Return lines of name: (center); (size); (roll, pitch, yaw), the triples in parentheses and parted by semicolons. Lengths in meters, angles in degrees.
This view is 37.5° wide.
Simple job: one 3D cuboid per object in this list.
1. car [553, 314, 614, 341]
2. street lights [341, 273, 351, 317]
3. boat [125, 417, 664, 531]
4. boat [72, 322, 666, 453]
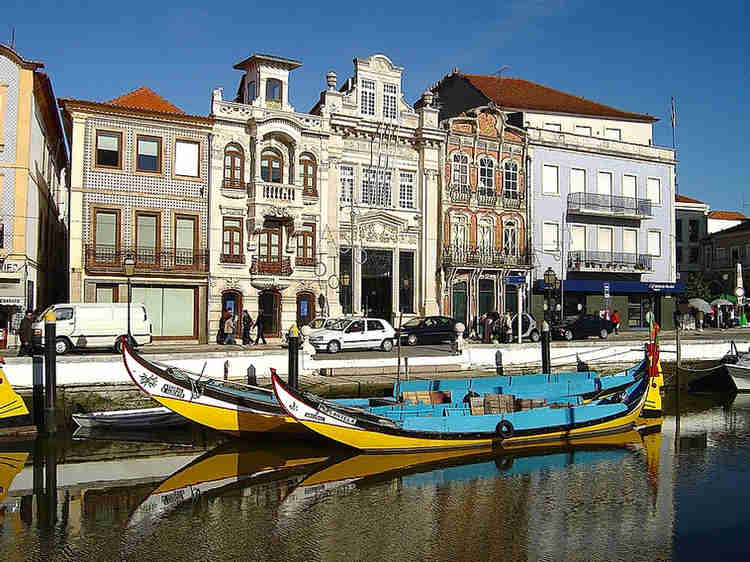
car: (11.179, 2.605, 60.165); (3.172, 1.138, 1.370); (3, -7, -32)
street lights: (-1.566, 0.690, 59.885); (0.572, 1.937, 0.868); (1, 13, -2)
boat: (-2.275, 6.398, 37.194); (25.416, 4.314, 4.692); (4, -7, -17)
boat: (-0.329, 4.280, 42.993); (19.664, 3.437, 12.722); (0, -4, -18)
